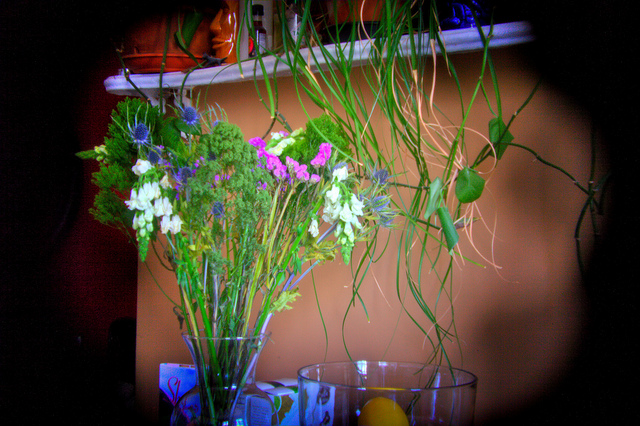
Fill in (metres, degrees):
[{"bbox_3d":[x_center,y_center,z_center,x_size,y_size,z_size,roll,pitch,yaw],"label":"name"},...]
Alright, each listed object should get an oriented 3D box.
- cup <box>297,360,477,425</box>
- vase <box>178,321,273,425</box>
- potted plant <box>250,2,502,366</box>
[{"bbox_3d":[0.128,0.358,1.001,0.336,0.103,0.191,0,0,-13],"label":"cup"},{"bbox_3d":[-0.199,0.335,1.135,0.198,0.259,0.200,8,-15,-31],"label":"vase"},{"bbox_3d":[0.174,-0.069,1.227,0.526,0.902,0.293,-1,-10,0],"label":"potted plant"}]
